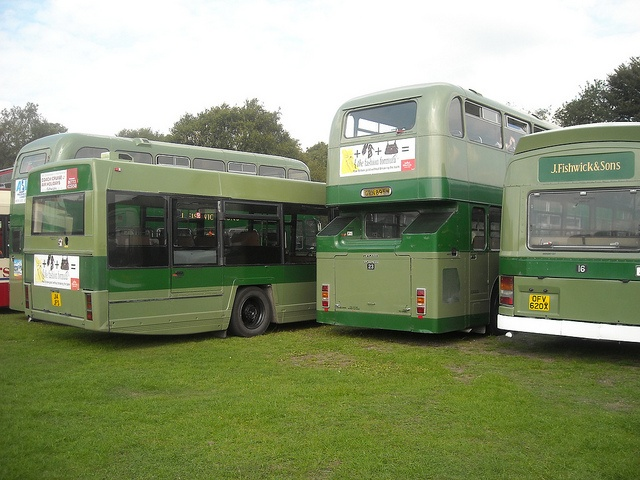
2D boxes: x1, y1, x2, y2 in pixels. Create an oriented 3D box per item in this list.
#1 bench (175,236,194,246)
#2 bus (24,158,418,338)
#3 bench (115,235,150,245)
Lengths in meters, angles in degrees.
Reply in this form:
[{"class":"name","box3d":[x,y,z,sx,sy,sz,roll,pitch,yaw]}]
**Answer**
[{"class":"bench","box3d":[-3.109,0.024,11.137,0.433,0.233,0.027,0,0,-41]},{"class":"bus","box3d":[-3.118,0.143,14.523,3.162,4.099,10.065,-3,-1,30]},{"class":"bench","box3d":[-3.990,-0.011,10.375,0.736,0.229,0.070,0,0,-43]}]
